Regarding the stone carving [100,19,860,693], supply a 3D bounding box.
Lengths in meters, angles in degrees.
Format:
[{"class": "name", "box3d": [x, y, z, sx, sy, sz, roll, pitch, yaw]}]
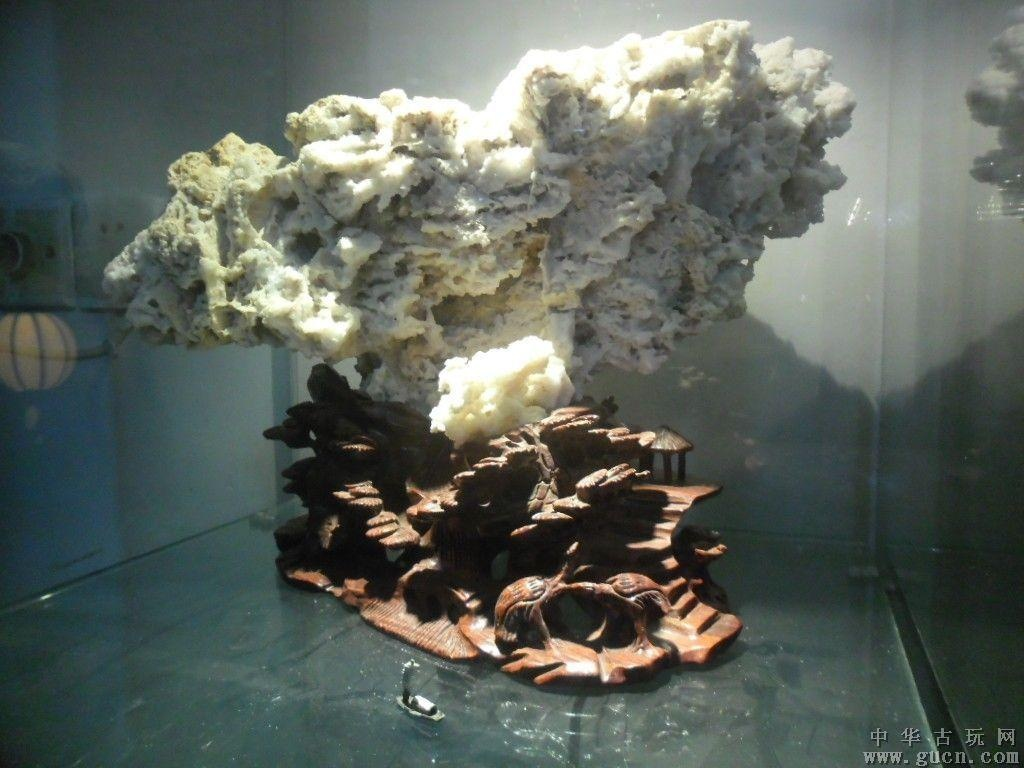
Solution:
[{"class": "stone carving", "box3d": [-0.166, -0.236, 4.240, 3.556, 3.065, 2.357, -2, 15, 6]}]

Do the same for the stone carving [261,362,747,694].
[{"class": "stone carving", "box3d": [-0.103, 0.625, 3.440, 1.412, 0.576, 1.227, 0, 11, 20]}]

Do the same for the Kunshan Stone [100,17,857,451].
[{"class": "Kunshan Stone", "box3d": [-0.208, -0.667, 4.255, 3.798, 1.982, 1.402, -6, 4, 2]}]

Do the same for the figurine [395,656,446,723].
[{"class": "figurine", "box3d": [-0.336, 1.185, 2.982, 0.230, 0.140, 0.087, 11, 8, 41]}]
